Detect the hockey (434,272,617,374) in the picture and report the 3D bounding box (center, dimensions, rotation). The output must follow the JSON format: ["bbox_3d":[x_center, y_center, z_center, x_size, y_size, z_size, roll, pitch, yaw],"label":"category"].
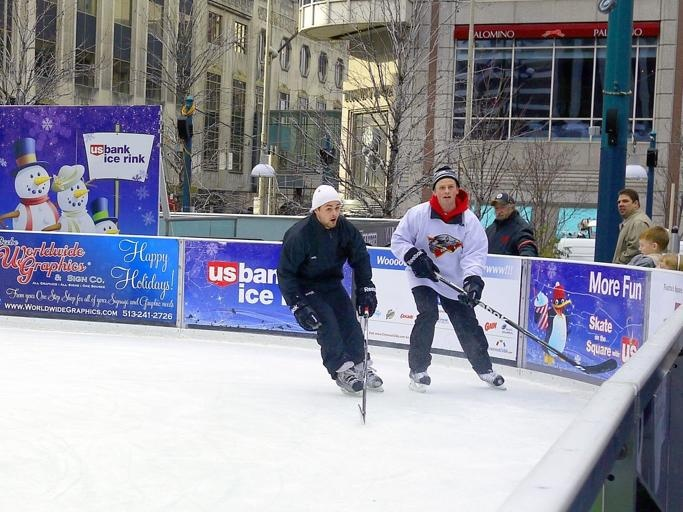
[{"bbox_3d":[1.987,0.676,8.756,1.700,0.204,0.250,32,22,9],"label":"hockey"}]

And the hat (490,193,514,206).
[{"bbox_3d":[1.814,-0.656,9.344,0.240,0.137,0.162,16,-15,-41],"label":"hat"}]

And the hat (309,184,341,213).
[{"bbox_3d":[-0.156,-0.537,7.857,0.209,0.218,0.251,-9,17,-33],"label":"hat"}]

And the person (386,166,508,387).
[{"bbox_3d":[1.011,0.246,8.283,1.058,2.249,0.752,1,6,4],"label":"person"}]

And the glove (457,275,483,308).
[{"bbox_3d":[1.219,0.354,7.930,0.198,0.285,0.121,24,21,30],"label":"glove"}]

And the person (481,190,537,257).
[{"bbox_3d":[2.556,-0.541,12.886,0.511,1.183,1.736,-1,8,-15],"label":"person"}]

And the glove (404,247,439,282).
[{"bbox_3d":[0.765,0.088,8.160,0.238,0.360,0.155,-39,-14,-8],"label":"glove"}]

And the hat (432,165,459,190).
[{"bbox_3d":[1.022,-0.846,8.290,0.255,0.278,0.339,-3,-15,2],"label":"hat"}]

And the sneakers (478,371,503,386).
[{"bbox_3d":[1.514,1.257,8.540,0.112,0.132,0.289,-16,23,-36],"label":"sneakers"}]

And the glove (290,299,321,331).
[{"bbox_3d":[-0.334,0.566,7.863,0.196,0.315,0.121,-34,-3,-11],"label":"glove"}]
